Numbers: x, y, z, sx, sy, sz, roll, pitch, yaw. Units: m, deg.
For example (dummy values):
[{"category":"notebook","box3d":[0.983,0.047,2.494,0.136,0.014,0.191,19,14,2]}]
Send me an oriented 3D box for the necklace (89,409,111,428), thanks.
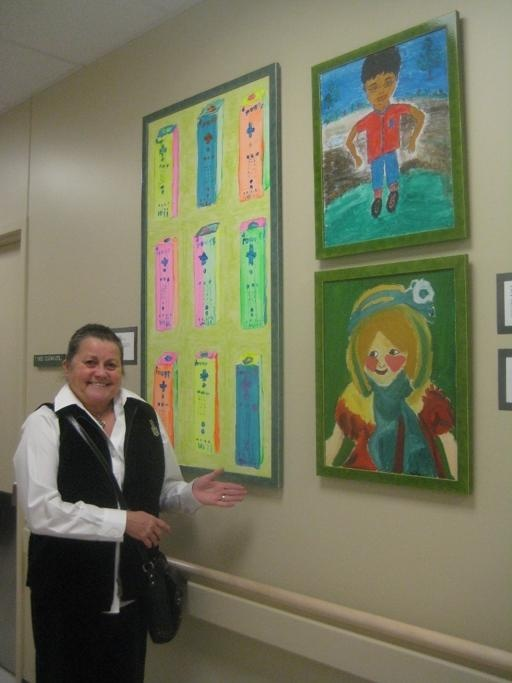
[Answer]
[{"category":"necklace","box3d":[-0.465,0.233,1.740,0.054,0.023,0.040,24,4,34]}]
